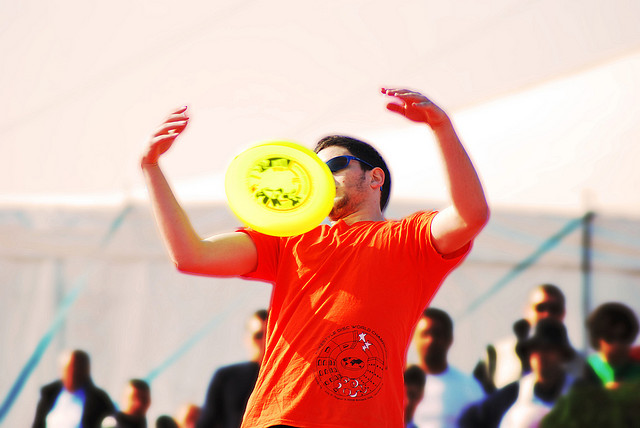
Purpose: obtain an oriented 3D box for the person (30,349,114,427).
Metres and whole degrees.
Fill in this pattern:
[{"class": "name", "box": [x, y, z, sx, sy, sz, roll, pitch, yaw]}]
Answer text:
[{"class": "person", "box": [-2.730, 1.977, 16.461, 0.882, 0.874, 0.248, 5, -21, 0]}]
